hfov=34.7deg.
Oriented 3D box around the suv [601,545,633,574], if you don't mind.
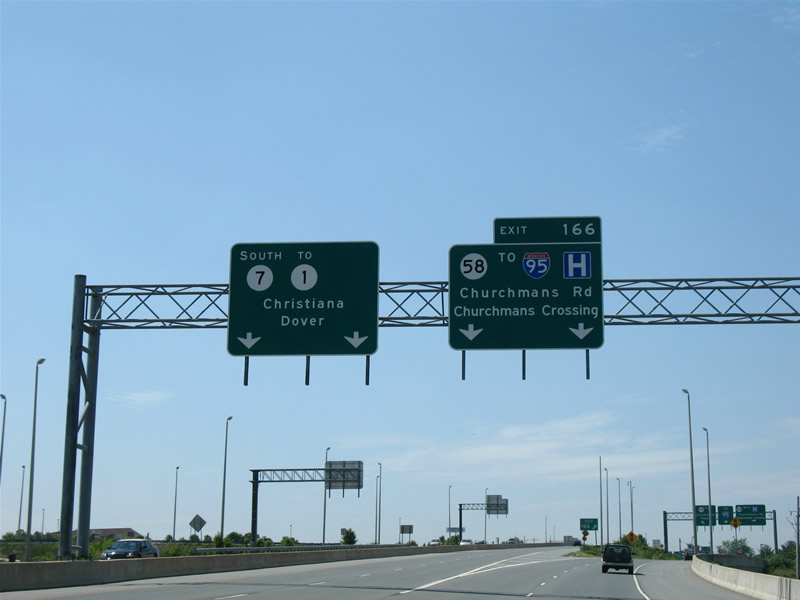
[{"bbox_3d":[14.197,16.532,83.402,1.309,1.155,2.483,-1,-2,9],"label":"suv"}]
